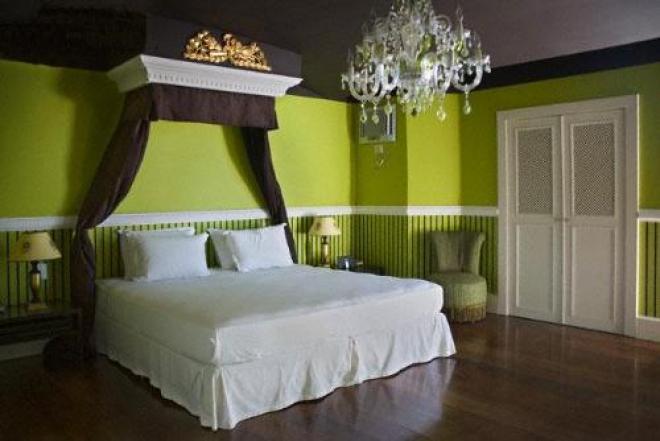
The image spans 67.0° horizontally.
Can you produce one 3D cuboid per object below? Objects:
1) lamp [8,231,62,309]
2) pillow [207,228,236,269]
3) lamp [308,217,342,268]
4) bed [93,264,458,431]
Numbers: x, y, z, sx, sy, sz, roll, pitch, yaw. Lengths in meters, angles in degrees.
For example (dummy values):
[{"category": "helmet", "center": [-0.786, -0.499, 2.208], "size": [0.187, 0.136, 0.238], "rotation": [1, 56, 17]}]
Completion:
[{"category": "lamp", "center": [-3.458, 0.587, 5.857], "size": [0.503, 0.887, 0.529], "rotation": [3, 4, 28]}, {"category": "pillow", "center": [-1.427, 0.371, 6.904], "size": [0.420, 0.507, 0.156], "rotation": [-10, 6, 42]}, {"category": "lamp", "center": [-0.104, 0.330, 7.949], "size": [0.481, 0.827, 0.643], "rotation": [-1, 12, -4]}, {"category": "bed", "center": [-0.364, 1.238, 5.279], "size": [2.010, 0.603, 2.049], "rotation": [1, -1, -42]}]
